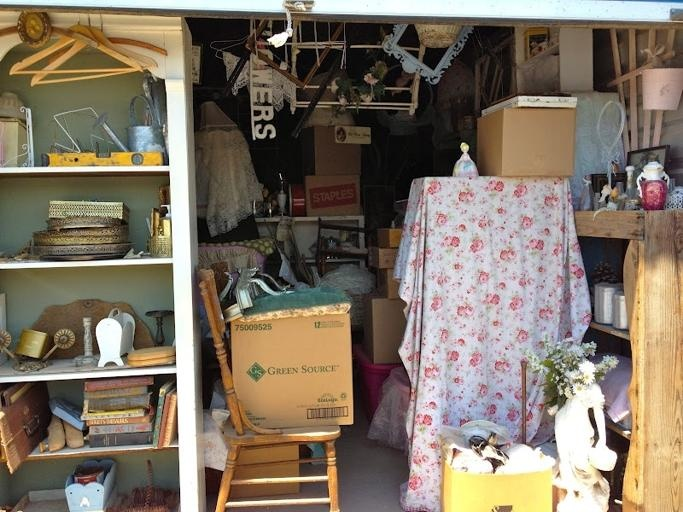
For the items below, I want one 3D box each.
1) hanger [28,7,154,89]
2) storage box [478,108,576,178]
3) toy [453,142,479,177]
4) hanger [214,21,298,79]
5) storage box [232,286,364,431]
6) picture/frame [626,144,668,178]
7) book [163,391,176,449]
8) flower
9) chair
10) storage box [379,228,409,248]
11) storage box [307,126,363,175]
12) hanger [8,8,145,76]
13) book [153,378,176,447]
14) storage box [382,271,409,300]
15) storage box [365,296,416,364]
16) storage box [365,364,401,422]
[{"bbox_3d":[-1.384,-1.138,3.688,0.496,0.231,0.520,4,20,25],"label":"hanger"},{"bbox_3d":[1.185,-0.708,4.174,0.439,0.367,0.464,0,4,-1],"label":"storage box"},{"bbox_3d":[0.828,-0.634,4.353,0.152,0.254,0.336,-2,2,15],"label":"toy"},{"bbox_3d":[-0.674,-1.725,5.550,0.513,0.553,0.813,-3,2,-20],"label":"hanger"},{"bbox_3d":[-0.314,0.629,4.275,0.715,0.730,0.775,-1,0,-4],"label":"storage box"},{"bbox_3d":[1.869,-0.574,4.013,0.019,0.188,0.250,-1,4,-24],"label":"picture/frame"},{"bbox_3d":[-1.005,0.970,3.858,0.052,0.253,0.233,3,-3,-4],"label":"book"},{"bbox_3d":[1.376,0.649,3.950,0.486,0.418,0.545,-4,9,-30],"label":"flower"},{"bbox_3d":[-0.468,0.934,4.797,1.245,2.183,1.067,-1,-2,-4],"label":"chair"},{"bbox_3d":[0.372,-0.135,5.146,0.146,0.120,0.147,0,5,3],"label":"storage box"},{"bbox_3d":[-0.070,-1.002,6.451,0.429,0.477,0.468,-2,7,-16],"label":"storage box"},{"bbox_3d":[-1.458,-1.138,3.640,0.520,0.229,0.521,-14,21,-32],"label":"hanger"},{"bbox_3d":[-1.049,0.938,3.881,0.065,0.299,0.277,3,1,-5],"label":"book"},{"bbox_3d":[0.414,0.226,5.027,0.152,0.303,0.298,1,-3,-4],"label":"storage box"},{"bbox_3d":[0.367,0.565,5.389,0.391,0.589,0.575,-1,2,-6],"label":"storage box"},{"bbox_3d":[0.258,1.028,5.136,0.323,0.356,0.416,-1,1,-14],"label":"storage box"}]
